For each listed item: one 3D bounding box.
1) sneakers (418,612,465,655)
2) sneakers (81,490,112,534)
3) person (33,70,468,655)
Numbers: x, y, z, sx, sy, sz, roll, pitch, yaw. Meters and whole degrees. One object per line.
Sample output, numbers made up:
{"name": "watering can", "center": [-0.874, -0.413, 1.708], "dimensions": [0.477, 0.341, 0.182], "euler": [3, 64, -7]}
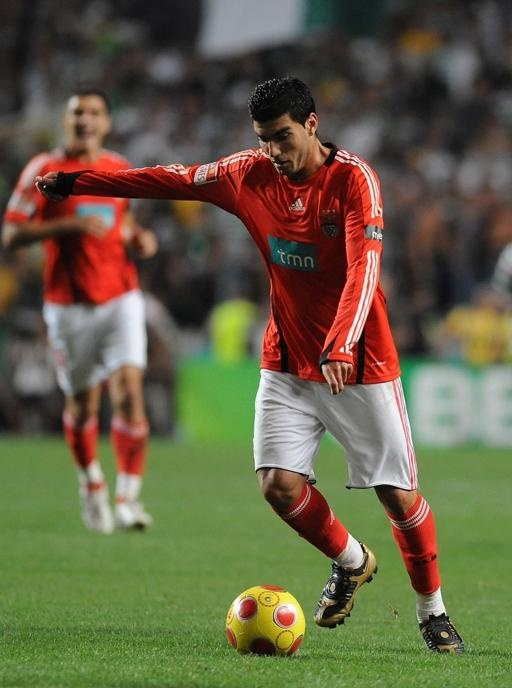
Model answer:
{"name": "sneakers", "center": [0.566, 0.887, 2.559], "dimensions": [0.069, 0.062, 0.157], "euler": [-11, 4, -6]}
{"name": "sneakers", "center": [-0.646, 0.685, 3.425], "dimensions": [0.127, 0.073, 0.175], "euler": [-13, 56, -4]}
{"name": "person", "center": [0.166, 0.047, 2.649], "dimensions": [1.141, 1.717, 0.469], "euler": [12, 22, 40]}
